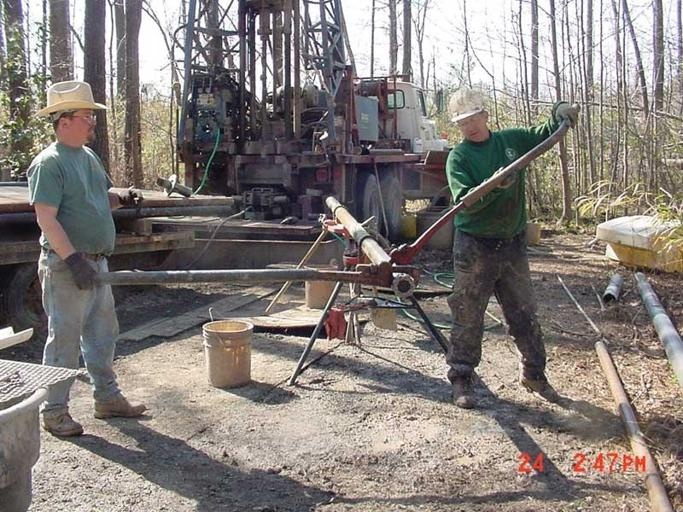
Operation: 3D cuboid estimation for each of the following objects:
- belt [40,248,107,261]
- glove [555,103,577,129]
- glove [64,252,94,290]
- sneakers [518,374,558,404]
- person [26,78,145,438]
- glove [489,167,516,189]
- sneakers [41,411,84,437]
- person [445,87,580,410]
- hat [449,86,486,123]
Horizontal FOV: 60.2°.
[{"bbox_3d":[-1.994,-0.006,4.366,0.185,0.066,0.238,3,5,0],"label":"belt"},{"bbox_3d":[1.838,-1.153,4.788,0.167,0.203,0.358,4,13,25],"label":"glove"},{"bbox_3d":[-1.876,0.095,4.219,0.190,0.245,0.452,-6,13,-26],"label":"glove"},{"bbox_3d":[1.719,1.148,5.138,0.333,0.158,0.153,21,45,21],"label":"sneakers"},{"bbox_3d":[-1.991,0.020,4.506,0.653,2.661,0.827,0,11,7],"label":"person"},{"bbox_3d":[1.201,-0.572,4.364,0.114,0.063,0.177,6,54,11],"label":"glove"},{"bbox_3d":[-2.118,1.263,4.512,0.308,0.170,0.146,2,8,16],"label":"sneakers"},{"bbox_3d":[1.338,-0.049,4.903,0.901,2.619,0.546,-2,10,-6],"label":"person"},{"bbox_3d":[1.037,-1.241,4.850,0.277,0.293,0.375,0,11,5],"label":"hat"}]
